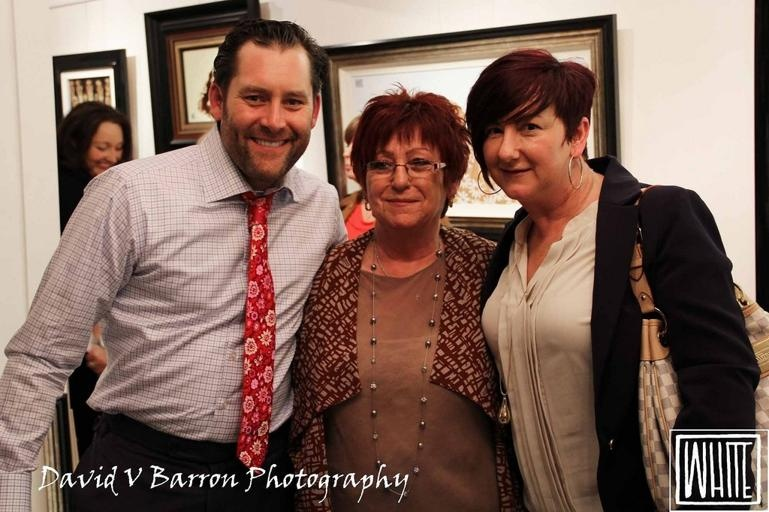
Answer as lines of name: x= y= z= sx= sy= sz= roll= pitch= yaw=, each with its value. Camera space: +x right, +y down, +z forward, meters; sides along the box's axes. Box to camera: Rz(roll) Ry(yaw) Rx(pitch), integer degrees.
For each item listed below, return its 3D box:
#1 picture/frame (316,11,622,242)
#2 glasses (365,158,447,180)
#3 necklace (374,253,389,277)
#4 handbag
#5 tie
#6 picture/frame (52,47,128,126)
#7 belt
picture/frame: x=0.412 y=-0.578 z=2.776 sx=1.276 sy=0.861 sz=0.049 roll=0 pitch=8 yaw=13
glasses: x=0.082 y=-0.341 z=2.513 sx=0.306 sy=0.071 sz=0.047 roll=-2 pitch=2 yaw=2
necklace: x=-0.015 y=0.038 z=2.634 sx=0.055 sy=0.016 sz=0.131 roll=32 pitch=12 yaw=-2
handbag: x=1.081 y=0.311 z=2.178 sx=0.444 sy=1.102 sz=0.230 roll=-1 pitch=2 yaw=21
tie: x=-0.498 y=0.281 z=2.420 sx=0.143 sy=1.024 sz=0.107 roll=-1 pitch=-2 yaw=0
picture/frame: x=-1.619 y=-0.898 z=3.476 sx=0.404 sy=0.341 sz=0.031 roll=-4 pitch=-4 yaw=4
belt: x=-0.828 y=0.699 z=2.428 sx=0.294 sy=0.068 sz=0.262 roll=12 pitch=-7 yaw=-9
